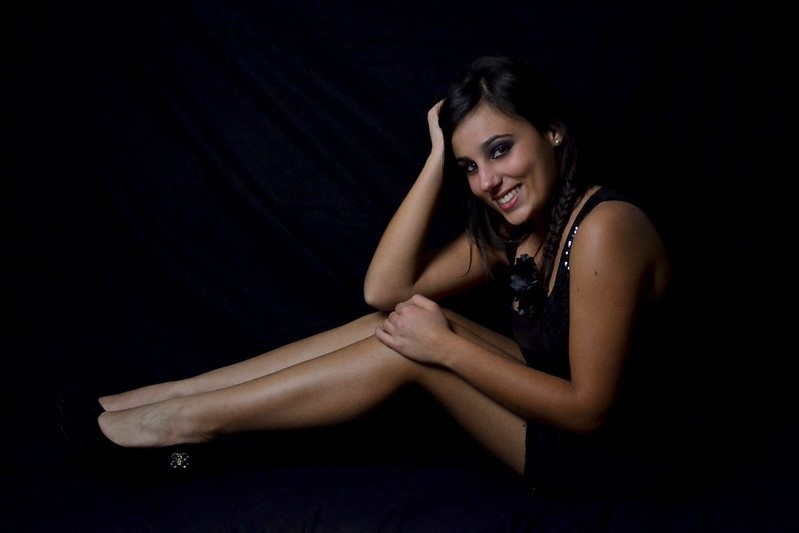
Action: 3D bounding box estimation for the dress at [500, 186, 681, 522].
[{"bbox_3d":[0.707,0.288,2.472,0.629,1.096,0.356,-1,15,8],"label":"dress"}]

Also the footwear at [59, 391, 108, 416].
[{"bbox_3d":[-1.241,0.539,2.734,0.163,0.087,0.038,16,-29,-15],"label":"footwear"}]
